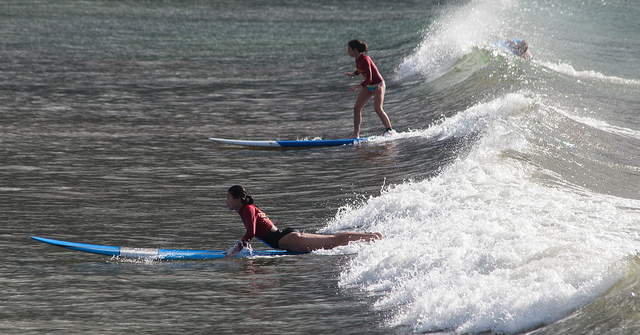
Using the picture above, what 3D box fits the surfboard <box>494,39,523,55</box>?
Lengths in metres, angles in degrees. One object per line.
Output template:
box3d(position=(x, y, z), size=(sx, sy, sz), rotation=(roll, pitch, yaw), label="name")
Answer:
box3d(position=(7.523, -4.905, 35.978), size=(0.916, 0.385, 1.283), rotation=(6, 35, 3), label="surfboard")

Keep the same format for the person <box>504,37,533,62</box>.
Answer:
box3d(position=(8.139, -4.738, 36.321), size=(1.677, 0.388, 0.751), rotation=(17, 63, -21), label="person")

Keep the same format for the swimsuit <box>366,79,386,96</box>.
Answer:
box3d(position=(1.896, -2.670, 30.994), size=(0.450, 0.702, 0.459), rotation=(29, 46, 25), label="swimsuit")

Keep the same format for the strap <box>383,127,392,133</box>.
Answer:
box3d(position=(2.356, -1.308, 31.516), size=(0.344, 0.275, 0.339), rotation=(-4, -4, 35), label="strap")
